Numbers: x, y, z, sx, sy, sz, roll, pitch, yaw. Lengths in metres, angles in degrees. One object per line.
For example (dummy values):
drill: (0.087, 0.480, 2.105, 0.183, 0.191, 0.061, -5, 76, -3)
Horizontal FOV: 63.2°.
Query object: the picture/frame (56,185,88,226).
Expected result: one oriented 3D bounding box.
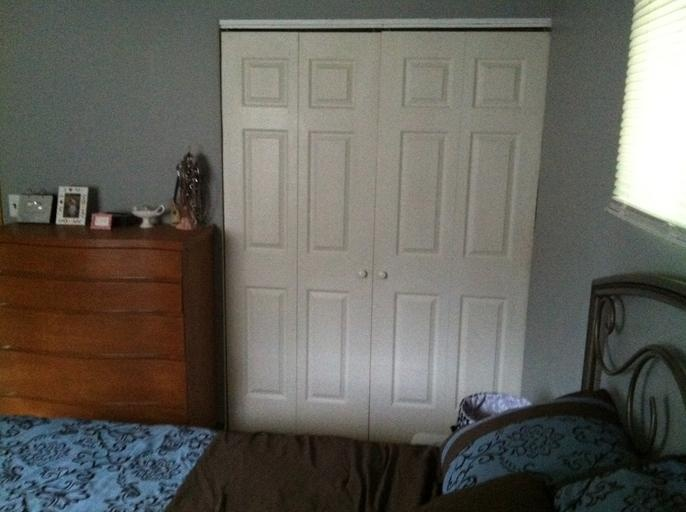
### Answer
picture/frame: (-1.568, -0.280, 3.211, 0.217, 0.291, 0.037, 4, -5, -4)
